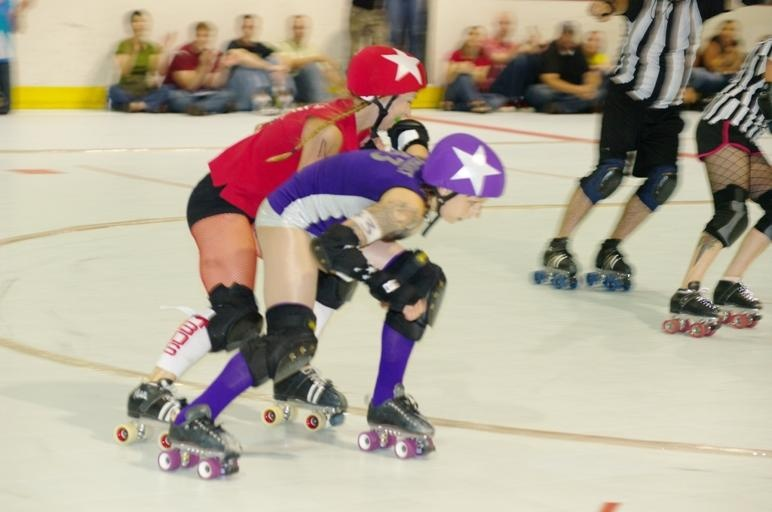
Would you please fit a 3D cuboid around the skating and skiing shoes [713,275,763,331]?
[{"bbox_3d":[2.111,0.273,4.571,0.174,0.247,0.337,0,2,-27],"label":"skating and skiing shoes"}]

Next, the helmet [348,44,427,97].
[{"bbox_3d":[0.017,-0.833,3.516,0.332,0.177,0.229,7,9,-1],"label":"helmet"}]

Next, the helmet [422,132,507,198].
[{"bbox_3d":[0.314,-0.352,3.030,0.326,0.240,0.205,7,12,1],"label":"helmet"}]

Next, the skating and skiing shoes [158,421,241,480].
[{"bbox_3d":[-0.701,0.732,2.918,0.282,0.135,0.154,5,3,25],"label":"skating and skiing shoes"}]

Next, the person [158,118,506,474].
[{"bbox_3d":[-0.229,0.171,3.191,1.384,1.290,0.839,0,4,-31],"label":"person"}]

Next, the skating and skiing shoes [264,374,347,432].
[{"bbox_3d":[-0.296,0.600,3.269,0.361,0.234,0.220,6,11,10],"label":"skating and skiing shoes"}]

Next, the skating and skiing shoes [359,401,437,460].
[{"bbox_3d":[0.034,0.703,3.098,0.266,0.092,0.207,1,1,35],"label":"skating and skiing shoes"}]

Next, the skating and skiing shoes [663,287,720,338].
[{"bbox_3d":[1.787,0.312,4.420,0.287,0.264,0.242,9,9,37],"label":"skating and skiing shoes"}]
